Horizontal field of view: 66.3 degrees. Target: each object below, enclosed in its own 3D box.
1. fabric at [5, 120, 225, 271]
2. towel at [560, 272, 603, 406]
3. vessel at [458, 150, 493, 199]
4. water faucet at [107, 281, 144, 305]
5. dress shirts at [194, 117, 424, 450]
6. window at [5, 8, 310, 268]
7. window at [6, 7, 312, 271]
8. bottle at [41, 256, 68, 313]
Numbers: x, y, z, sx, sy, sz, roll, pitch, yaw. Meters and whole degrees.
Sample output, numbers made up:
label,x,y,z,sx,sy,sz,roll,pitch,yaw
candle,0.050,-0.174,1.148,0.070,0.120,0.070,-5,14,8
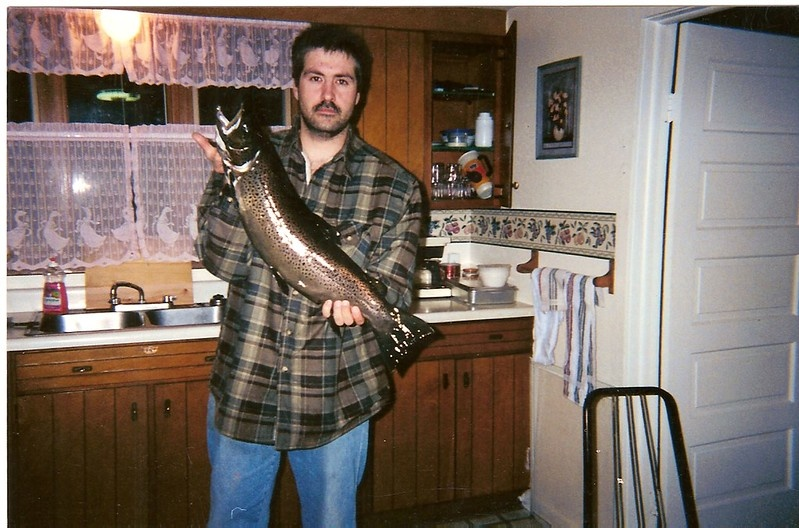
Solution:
label,x,y,z,sx,sy,sz,roll,pitch,yaw
fabric,-1.673,-0.399,3.457,1.021,0.635,0.082,-1,10,-15
towel,1.014,0.419,3.436,0.134,0.718,0.264,-4,9,-18
vessel,0.488,-0.571,3.930,0.233,0.287,0.170,-15,-2,-13
water faucet,-1.598,0.172,3.574,0.200,0.142,0.179,-4,8,-23
dress shirts,-0.248,0.101,2.854,1.047,1.273,0.714,-10,15,11
window,-1.364,-0.701,3.266,1.765,1.206,0.123,-1,15,-13
window,-1.355,-0.696,3.261,1.752,1.325,0.148,-1,7,-16
bottle,-1.955,0.119,3.437,0.127,0.282,0.345,-5,9,-30
